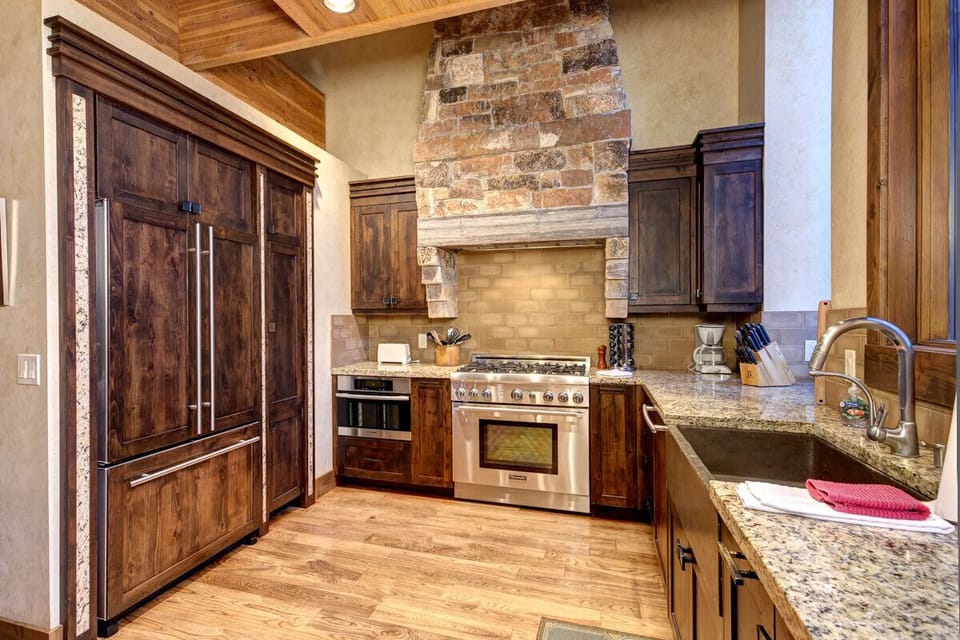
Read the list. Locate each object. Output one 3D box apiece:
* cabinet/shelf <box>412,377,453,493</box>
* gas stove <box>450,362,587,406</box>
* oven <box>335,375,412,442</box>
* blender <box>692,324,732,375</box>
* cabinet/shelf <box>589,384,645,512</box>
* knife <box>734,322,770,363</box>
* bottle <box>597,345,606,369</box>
[{"bbox_3d":[-0.392,0.892,5.389,0.352,0.855,0.140,-2,4,26],"label":"cabinet/shelf"},{"bbox_3d":[0.339,0.505,5.437,1.100,0.316,0.639,-3,3,10],"label":"gas stove"},{"bbox_3d":[-0.853,0.707,5.624,0.739,0.524,0.484,0,-3,15],"label":"oven"},{"bbox_3d":[1.878,0.230,5.296,0.327,0.403,0.299,10,-10,-38],"label":"blender"},{"bbox_3d":[1.017,0.920,5.017,0.414,0.906,0.134,-4,4,9],"label":"cabinet/shelf"},{"bbox_3d":[1.881,0.148,4.630,0.216,0.272,0.150,-2,4,27],"label":"knife"},{"bbox_3d":[1.007,0.292,5.517,0.077,0.180,0.253,-4,3,10],"label":"bottle"}]
